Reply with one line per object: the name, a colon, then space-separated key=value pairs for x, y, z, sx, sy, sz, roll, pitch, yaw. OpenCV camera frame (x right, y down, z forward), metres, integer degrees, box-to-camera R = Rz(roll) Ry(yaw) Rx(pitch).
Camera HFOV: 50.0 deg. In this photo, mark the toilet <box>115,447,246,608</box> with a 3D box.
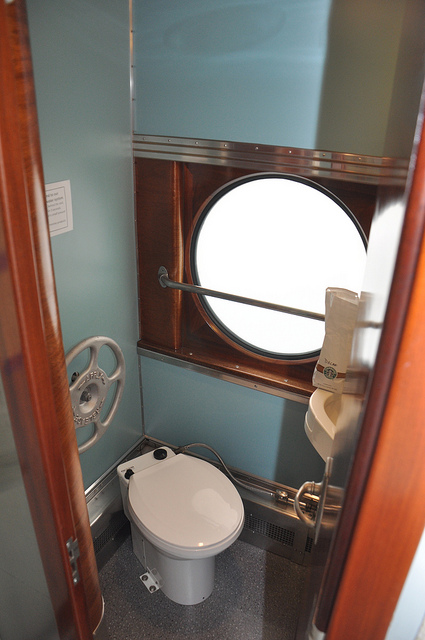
toilet: x=-0.147 y=1.020 z=2.158 sx=0.453 sy=0.631 sz=0.631 roll=-19 pitch=28 yaw=-38
